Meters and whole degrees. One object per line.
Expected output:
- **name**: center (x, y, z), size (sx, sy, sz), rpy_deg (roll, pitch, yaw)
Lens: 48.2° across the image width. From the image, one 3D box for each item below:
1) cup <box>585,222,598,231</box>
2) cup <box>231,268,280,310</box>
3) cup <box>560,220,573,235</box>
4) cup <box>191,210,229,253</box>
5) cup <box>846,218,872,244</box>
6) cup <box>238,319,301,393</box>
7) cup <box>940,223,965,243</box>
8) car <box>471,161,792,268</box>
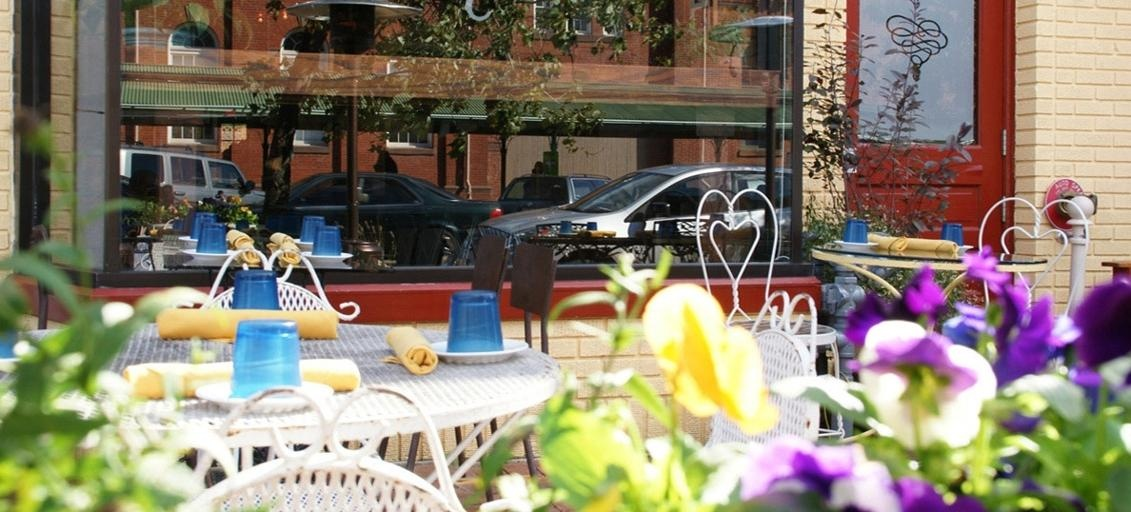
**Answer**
- **cup**: center (0.212, -0.221, 9.447), size (0.081, 0.051, 0.058), rpy_deg (0, 2, 8)
- **cup**: center (-1.892, 0.208, 7.768), size (0.268, 0.229, 0.254), rpy_deg (1, 0, 0)
- **cup**: center (0.025, -0.211, 9.472), size (0.102, 0.083, 0.096), rpy_deg (0, 3, 0)
- **cup**: center (-2.491, -0.162, 8.905), size (0.287, 0.272, 0.273), rpy_deg (-1, -3, 0)
- **cup**: center (2.190, -0.175, 9.444), size (0.182, 0.156, 0.178), rpy_deg (0, 3, 0)
- **cup**: center (-1.657, 0.573, 7.285), size (0.425, 0.364, 0.401), rpy_deg (0, 1, 0)
- **cup**: center (2.972, -0.174, 9.585), size (0.201, 0.169, 0.190), rpy_deg (0, 3, 0)
- **car**: center (0.587, -0.244, 9.754), size (2.085, 0.631, 0.904), rpy_deg (1, 0, -12)
